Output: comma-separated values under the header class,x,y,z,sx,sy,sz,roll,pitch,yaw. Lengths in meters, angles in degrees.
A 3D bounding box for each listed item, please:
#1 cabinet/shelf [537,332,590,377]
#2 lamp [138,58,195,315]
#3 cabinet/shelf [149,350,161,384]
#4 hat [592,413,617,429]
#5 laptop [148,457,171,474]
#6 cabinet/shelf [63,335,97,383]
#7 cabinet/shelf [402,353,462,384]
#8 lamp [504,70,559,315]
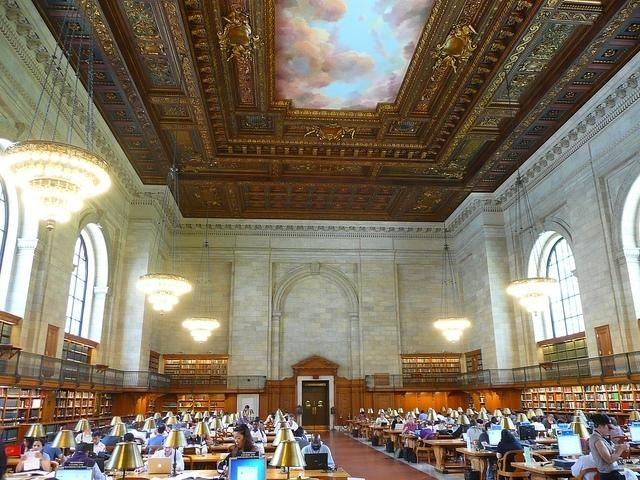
class,x,y,z,sx,sy,sz,roll,pitch,yaw
cabinet/shelf,8.161,3.878,14.878,1.058,1.359,2.908,-2,-22,5
lamp,-4.562,-0.894,13.292,1.706,5.626,1.719,12,-12,-26
cabinet/shelf,-6.728,5.130,17.801,0.318,1.059,1.122,-1,-23,-3
hat,3.468,2.232,5.418,0.204,0.161,0.621,-13,-26,28
laptop,-2.261,3.177,6.202,0.280,0.209,0.206,1,-16,0
cabinet/shelf,-7.443,3.659,13.565,0.458,1.267,1.328,-2,-17,-3
cabinet/shelf,5.086,5.771,20.026,2.718,1.223,0.365,-1,-21,1
lamp,6.582,-0.153,14.122,1.254,4.908,1.329,1,-23,7
